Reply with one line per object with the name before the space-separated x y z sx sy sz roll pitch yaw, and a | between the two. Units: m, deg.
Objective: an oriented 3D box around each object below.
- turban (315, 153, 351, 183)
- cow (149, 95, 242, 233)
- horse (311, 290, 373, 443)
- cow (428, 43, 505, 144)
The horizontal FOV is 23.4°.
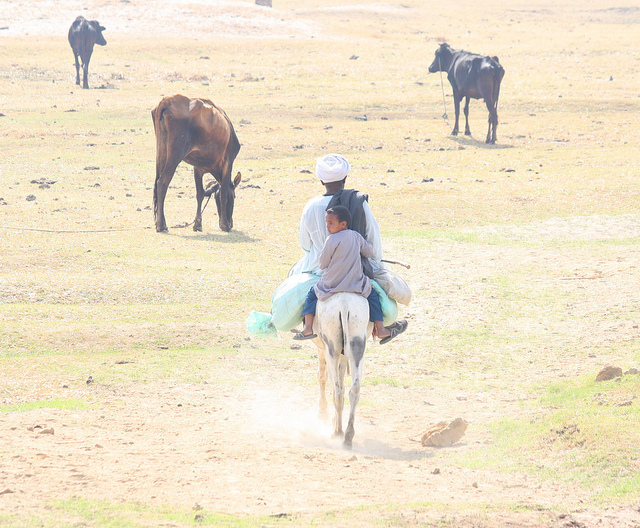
turban | 0.258 -2.114 32.357 0.613 0.284 0.621 0 38 0
cow | -3.211 -3.039 42.561 2.558 3.704 2.722 -9 29 -12
horse | 0.390 1.756 34.003 1.433 3.911 5.245 1 2 -4
cow | 5.122 -6.173 54.668 1.285 3.103 5.156 -4 12 -23
